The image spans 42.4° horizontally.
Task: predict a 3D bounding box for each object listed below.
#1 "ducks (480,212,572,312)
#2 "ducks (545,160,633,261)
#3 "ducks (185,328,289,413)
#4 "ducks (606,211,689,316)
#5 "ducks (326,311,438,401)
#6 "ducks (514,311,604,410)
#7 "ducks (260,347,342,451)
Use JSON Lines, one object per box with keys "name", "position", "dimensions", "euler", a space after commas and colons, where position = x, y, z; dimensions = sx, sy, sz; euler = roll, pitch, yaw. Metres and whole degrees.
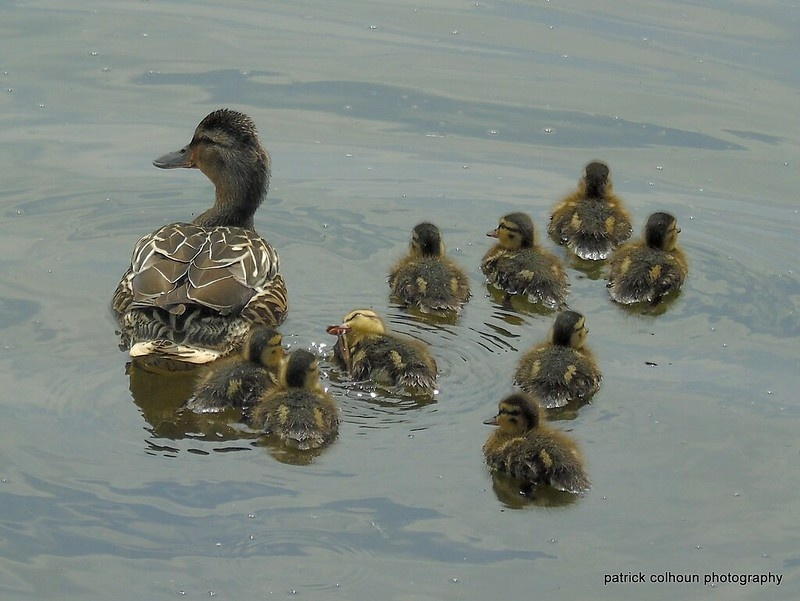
{"name": "\"ducks", "position": [1.323, -0.398, 10.273], "dimensions": [0.822, 0.676, 1.058], "euler": [-16, 38, -19]}
{"name": "\"ducks", "position": [2.050, -0.963, 11.077], "dimensions": [0.933, 0.741, 1.043], "euler": [2, 47, -3]}
{"name": "\"ducks", "position": [-1.307, 0.594, 8.552], "dimensions": [0.930, 0.514, 0.550], "euler": [-19, 31, -40]}
{"name": "\"ducks", "position": [2.451, -0.396, 10.278], "dimensions": [0.753, 0.726, 1.084], "euler": [21, 44, 22]}
{"name": "\"ducks", "position": [-0.116, 0.425, 9.100], "dimensions": [0.796, 0.574, 1.191], "euler": [-3, 14, -44]}
{"name": "\"ducks", "position": [1.394, 0.511, 8.853], "dimensions": [0.689, 0.555, 0.930], "euler": [9, 25, 24]}
{"name": "\"ducks", "position": [-0.781, 0.772, 8.263], "dimensions": [0.641, 0.515, 0.826], "euler": [5, 24, -9]}
